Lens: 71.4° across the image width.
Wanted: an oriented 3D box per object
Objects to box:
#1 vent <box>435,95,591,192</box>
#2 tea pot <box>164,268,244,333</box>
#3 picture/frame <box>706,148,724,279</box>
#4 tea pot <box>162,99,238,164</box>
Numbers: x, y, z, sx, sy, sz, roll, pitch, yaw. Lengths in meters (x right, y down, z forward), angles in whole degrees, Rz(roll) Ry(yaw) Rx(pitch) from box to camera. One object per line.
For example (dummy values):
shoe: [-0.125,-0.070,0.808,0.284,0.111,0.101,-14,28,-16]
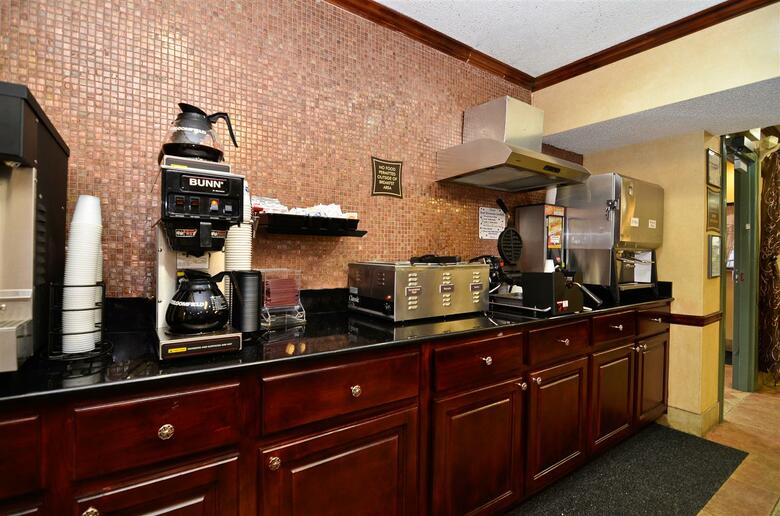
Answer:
vent: [1.061,-0.959,4.523,1.142,0.586,0.780,1,0,-42]
tea pot: [-1.071,0.245,3.090,0.392,0.360,0.362,0,2,0]
picture/frame: [2.864,-0.386,4.770,0.071,1.129,0.390,1,2,43]
tea pot: [-1.110,-0.720,3.254,0.434,0.321,0.306,3,-4,-38]
